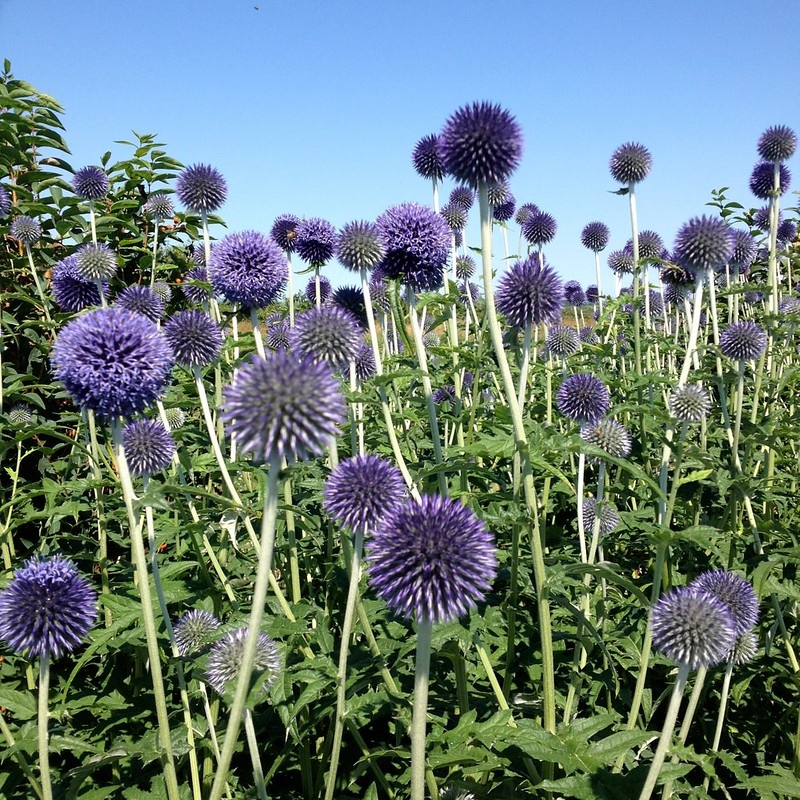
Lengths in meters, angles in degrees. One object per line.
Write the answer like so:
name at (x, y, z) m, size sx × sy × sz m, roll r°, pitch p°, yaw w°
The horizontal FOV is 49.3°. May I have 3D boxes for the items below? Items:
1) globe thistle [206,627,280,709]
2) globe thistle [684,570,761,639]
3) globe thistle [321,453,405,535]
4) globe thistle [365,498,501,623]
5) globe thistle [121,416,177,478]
globe thistle at (-0.906, 1.499, 5.024) m, size 0.437 × 0.319 × 0.536 m, roll -3°, pitch 14°, yaw -10°
globe thistle at (2.021, 1.290, 5.539) m, size 0.389 × 0.407 × 0.373 m, roll -1°, pitch 22°, yaw -20°
globe thistle at (-0.218, 0.573, 5.103) m, size 0.441 × 0.455 × 0.496 m, roll 13°, pitch 8°, yaw 39°
globe thistle at (0.159, 0.919, 4.511) m, size 0.658 × 0.731 × 0.579 m, roll 1°, pitch 14°, yaw 5°
globe thistle at (-1.721, 0.302, 5.936) m, size 0.423 × 0.399 × 0.400 m, roll -9°, pitch 30°, yaw -23°
